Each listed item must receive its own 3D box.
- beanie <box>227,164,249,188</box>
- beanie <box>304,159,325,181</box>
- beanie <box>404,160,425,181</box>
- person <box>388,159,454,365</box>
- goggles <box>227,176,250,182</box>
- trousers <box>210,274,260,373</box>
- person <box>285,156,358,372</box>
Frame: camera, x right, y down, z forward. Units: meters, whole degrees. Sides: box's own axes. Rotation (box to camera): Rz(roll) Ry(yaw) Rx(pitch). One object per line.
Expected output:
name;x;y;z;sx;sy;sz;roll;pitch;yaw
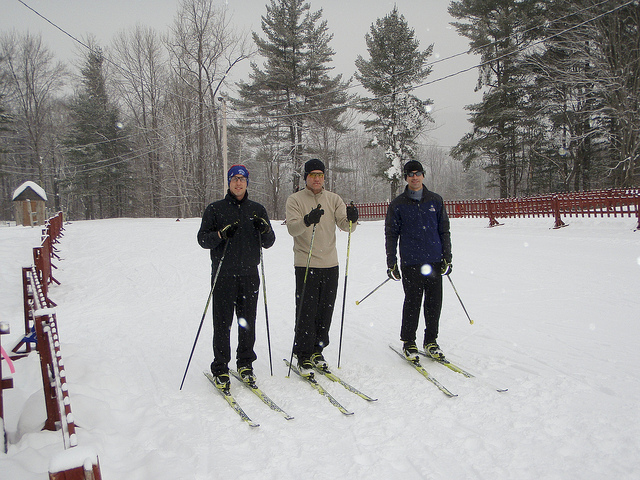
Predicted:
beanie;-1.208;-0.968;7.668;0.231;0.202;0.321;-1;9;-3
beanie;-0.079;-1.096;7.810;0.205;0.191;0.215;-3;12;-23
beanie;1.404;-1.076;7.831;0.172;0.204;0.223;-9;-6;-6
person;1.521;0.326;7.908;0.931;3.049;0.541;-1;6;8
goggles;-1.196;-0.907;7.663;0.275;0.091;0.126;-4;7;-16
trousers;-1.285;1.118;7.770;0.746;2.179;0.558;-13;40;-28
person;-0.009;0.370;7.873;0.910;3.182;0.559;-5;7;-30
